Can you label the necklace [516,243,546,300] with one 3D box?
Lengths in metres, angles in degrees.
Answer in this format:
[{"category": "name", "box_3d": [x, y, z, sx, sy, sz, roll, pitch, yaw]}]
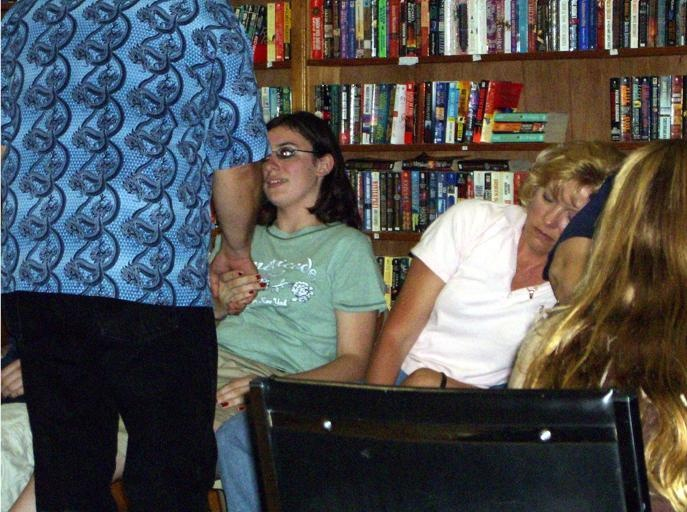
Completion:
[{"category": "necklace", "box_3d": [0.504, 0.039, 2.007, 0.089, 0.123, 0.042, 11, 12, -1]}]
